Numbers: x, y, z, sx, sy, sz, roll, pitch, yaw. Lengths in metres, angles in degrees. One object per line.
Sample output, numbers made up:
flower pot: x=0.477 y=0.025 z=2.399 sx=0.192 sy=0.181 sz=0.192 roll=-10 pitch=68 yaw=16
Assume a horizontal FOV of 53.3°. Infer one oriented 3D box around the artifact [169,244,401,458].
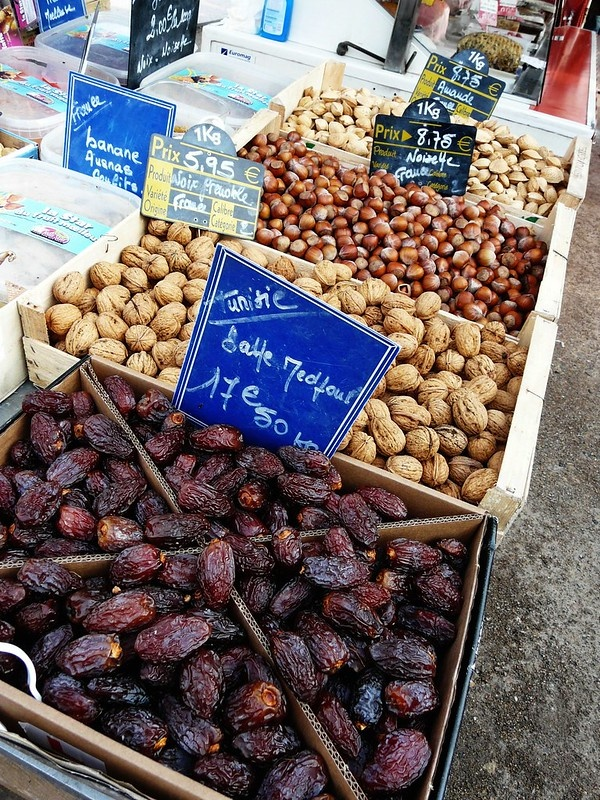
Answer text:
artifact: x=0.121 y=-0.319 z=2.217 sx=0.946 sy=0.613 sz=0.672 roll=9 pitch=32 yaw=26
